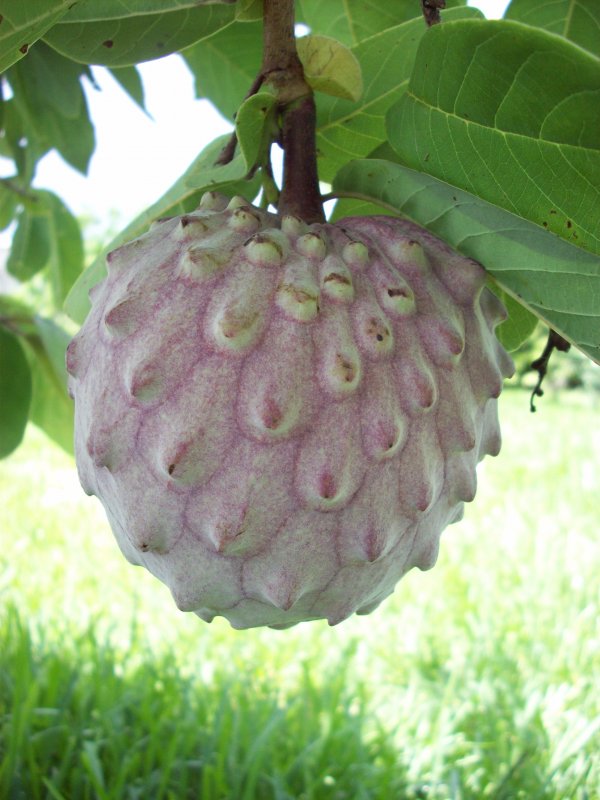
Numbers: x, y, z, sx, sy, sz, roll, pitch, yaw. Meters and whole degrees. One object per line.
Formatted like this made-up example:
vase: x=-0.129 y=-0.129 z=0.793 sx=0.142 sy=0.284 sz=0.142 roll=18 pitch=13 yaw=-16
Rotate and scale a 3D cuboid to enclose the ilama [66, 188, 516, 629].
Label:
ilama: x=-0.039 y=-0.008 z=1.434 sx=0.659 sy=0.513 sz=0.568 roll=2 pitch=2 yaw=10
